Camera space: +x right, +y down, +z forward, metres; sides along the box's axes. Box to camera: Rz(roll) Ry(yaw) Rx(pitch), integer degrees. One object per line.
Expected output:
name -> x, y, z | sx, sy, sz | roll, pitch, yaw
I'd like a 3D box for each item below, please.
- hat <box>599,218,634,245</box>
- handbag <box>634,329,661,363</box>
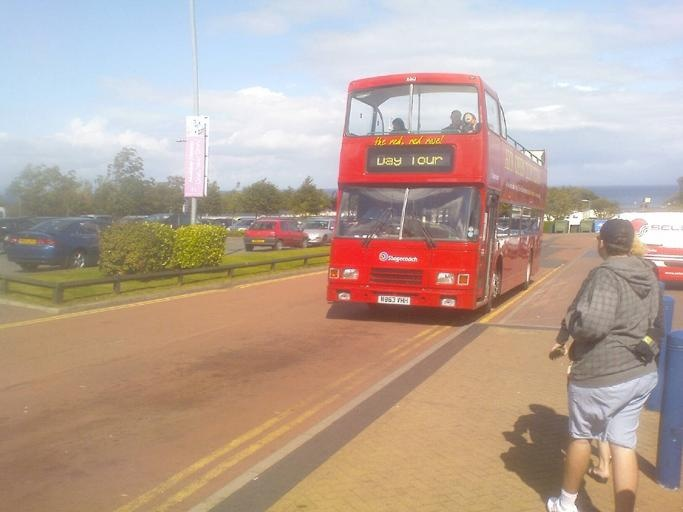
hat -> 1.975, -0.177, 3.518 | 0.171, 0.204, 0.188 | 4, -40, 3
handbag -> 2.099, 0.615, 3.386 | 0.079, 0.158, 0.220 | -38, 14, 10
